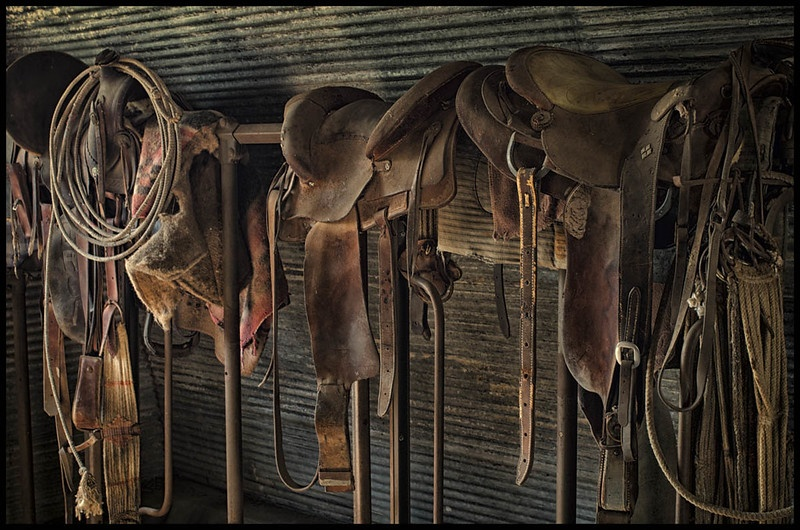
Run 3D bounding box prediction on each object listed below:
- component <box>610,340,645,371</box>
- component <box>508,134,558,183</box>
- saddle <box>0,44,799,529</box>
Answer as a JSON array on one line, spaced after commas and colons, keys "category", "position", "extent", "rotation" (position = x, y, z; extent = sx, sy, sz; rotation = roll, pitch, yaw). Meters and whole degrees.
[{"category": "component", "position": [0.714, 0.283, 3.312], "extent": [0.063, 0.088, 0.032], "rotation": [2, 3, 23]}, {"category": "component", "position": [0.401, -0.347, 3.439], "extent": [0.132, 0.157, 0.037], "rotation": [-3, 6, 20]}, {"category": "saddle", "position": [0.026, 0.030, 3.858], "extent": [2.048, 1.291, 0.539], "rotation": [2, 7, 28]}]
